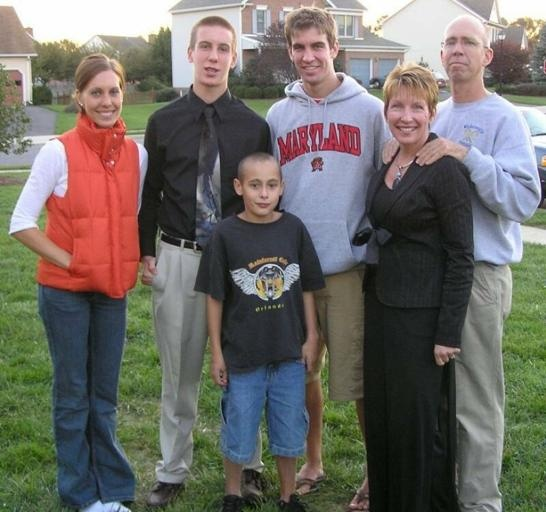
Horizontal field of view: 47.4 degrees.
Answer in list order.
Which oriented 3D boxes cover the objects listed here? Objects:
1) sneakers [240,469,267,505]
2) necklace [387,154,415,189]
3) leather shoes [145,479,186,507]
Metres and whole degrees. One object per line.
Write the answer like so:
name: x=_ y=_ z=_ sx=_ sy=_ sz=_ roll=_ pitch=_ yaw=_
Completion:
sneakers: x=-0.122 y=1.348 z=3.609 sx=0.140 sy=0.186 sz=0.428 roll=-1 pitch=-13 yaw=3
necklace: x=0.638 y=-0.418 z=3.122 sx=0.092 sy=0.167 sz=0.029 roll=1 pitch=-35 yaw=40
leather shoes: x=-0.627 y=1.356 z=3.539 sx=0.073 sy=0.091 sz=0.226 roll=26 pitch=3 yaw=19
